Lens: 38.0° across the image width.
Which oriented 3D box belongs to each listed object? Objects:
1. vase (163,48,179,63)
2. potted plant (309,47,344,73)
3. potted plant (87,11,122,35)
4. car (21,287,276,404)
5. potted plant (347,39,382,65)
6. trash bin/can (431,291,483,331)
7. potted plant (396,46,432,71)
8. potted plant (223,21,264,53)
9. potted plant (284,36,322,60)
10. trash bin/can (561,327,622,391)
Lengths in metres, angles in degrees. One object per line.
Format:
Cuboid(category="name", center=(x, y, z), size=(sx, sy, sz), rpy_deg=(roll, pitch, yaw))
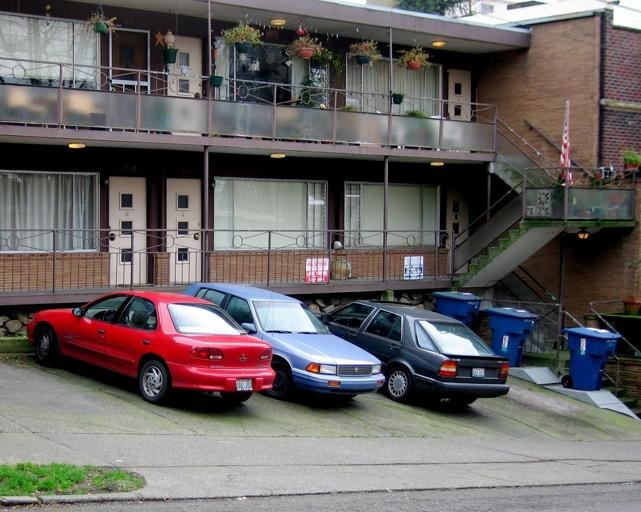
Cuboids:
Cuboid(category="vase", center=(-3.837, -5.218, 24.100), size=(0.410, 0.373, 0.385), rpy_deg=(-4, 4, -40))
Cuboid(category="potted plant", center=(0.237, -5.760, 27.036), size=(0.742, 0.404, 0.685), rpy_deg=(3, 13, -11))
Cuboid(category="potted plant", center=(-5.409, -5.936, 23.450), size=(0.754, 0.497, 0.733), rpy_deg=(0, -1, -28))
Cuboid(category="car", center=(-3.361, 1.568, 17.660), size=(5.137, 1.887, 1.699), rpy_deg=(13, 7, 35))
Cuboid(category="potted plant", center=(1.283, -5.959, 27.228), size=(0.939, 0.649, 0.906), rpy_deg=(-1, 0, -4))
Cuboid(category="trash bin/can", center=(3.743, 1.501, 24.780), size=(1.126, 1.258, 1.045), rpy_deg=(2, 0, -4))
Cuboid(category="potted plant", center=(2.809, -5.994, 27.762), size=(0.866, 0.606, 0.882), rpy_deg=(0, 6, -2))
Cuboid(category="potted plant", center=(-2.105, -5.992, 25.117), size=(0.898, 0.593, 0.853), rpy_deg=(1, 16, 0))
Cuboid(category="potted plant", center=(-0.446, -5.909, 26.346), size=(0.771, 0.530, 0.807), rpy_deg=(0, 5, -3))
Cuboid(category="trash bin/can", center=(6.504, 2.559, 22.764), size=(1.215, 1.179, 0.772), rpy_deg=(11, 7, 18))
